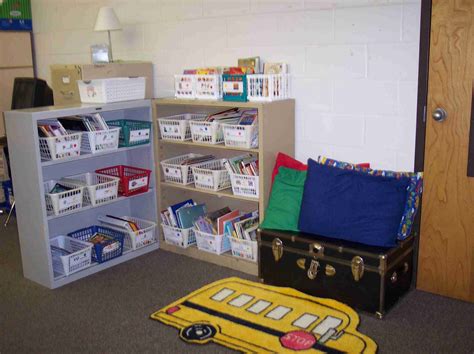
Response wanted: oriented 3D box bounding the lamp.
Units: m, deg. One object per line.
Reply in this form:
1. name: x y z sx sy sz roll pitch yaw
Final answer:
1. lamp: -1.271 -1.436 3.703 0.249 0.534 0.476 -4 16 -8

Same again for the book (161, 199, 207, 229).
1. book: -0.442 0.294 3.318 0.232 0.104 0.310 7 17 35

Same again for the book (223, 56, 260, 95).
1. book: 0.059 -0.834 3.027 0.305 0.305 0.219 7 11 38

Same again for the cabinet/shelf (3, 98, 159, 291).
1. cabinet/shelf: -1.263 0.160 3.077 0.459 1.601 1.308 4 13 35

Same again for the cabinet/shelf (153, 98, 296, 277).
1. cabinet/shelf: -0.091 0.093 3.027 1.217 1.471 0.489 12 18 40

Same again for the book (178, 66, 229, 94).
1. book: -0.331 -0.776 3.108 0.446 0.235 0.094 10 19 32

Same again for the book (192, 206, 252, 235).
1. book: -0.176 0.370 3.118 0.249 0.108 0.319 -15 15 -42

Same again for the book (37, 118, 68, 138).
1. book: -1.423 -0.412 2.826 0.147 0.068 0.195 -15 34 -17

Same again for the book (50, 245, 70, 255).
1. book: -1.418 0.590 2.974 0.093 0.025 0.094 13 4 3

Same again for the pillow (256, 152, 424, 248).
1. pillow: 0.679 0.178 2.635 0.891 0.589 0.279 11 2 27

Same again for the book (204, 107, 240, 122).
1. book: -0.078 -0.536 3.135 0.156 0.089 0.426 12 21 38

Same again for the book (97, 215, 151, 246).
1. book: -1.003 0.468 3.448 0.389 0.250 0.298 12 16 30
